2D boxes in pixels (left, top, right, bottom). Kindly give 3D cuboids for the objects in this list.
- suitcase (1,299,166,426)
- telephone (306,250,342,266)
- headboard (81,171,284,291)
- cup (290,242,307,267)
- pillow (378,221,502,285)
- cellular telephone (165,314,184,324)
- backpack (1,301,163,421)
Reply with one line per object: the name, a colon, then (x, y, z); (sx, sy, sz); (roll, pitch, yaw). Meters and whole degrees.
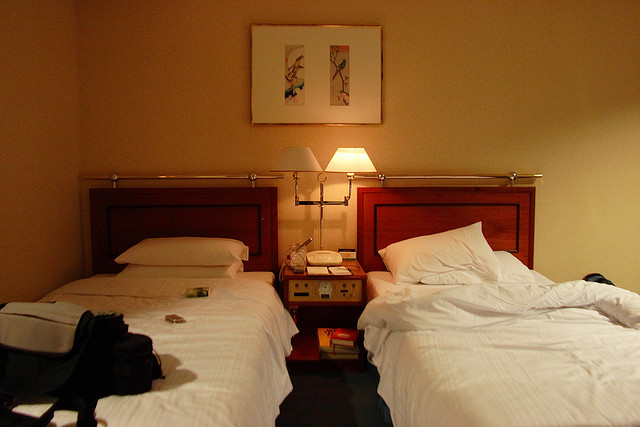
suitcase: (-1.246, 0.717, 2.415); (0.477, 0.229, 0.674); (3, 12, -3)
telephone: (0.031, 0.349, 3.741); (0.286, 0.094, 0.206); (0, 6, -3)
headboard: (-1.115, 0.139, 3.722); (0.957, 0.976, 0.094); (0, 6, -1)
cup: (-0.175, 0.325, 3.722); (0.159, 0.280, 0.154); (0, -14, 0)
pillow: (0.917, 0.319, 3.509); (0.549, 0.491, 0.168); (-12, -36, -1)
cellular telephone: (-0.878, 0.628, 2.818); (0.073, 0.035, 0.109); (-6, 8, -42)
backpack: (-1.237, 0.681, 2.423); (0.473, 0.257, 0.653); (3, 3, 3)
